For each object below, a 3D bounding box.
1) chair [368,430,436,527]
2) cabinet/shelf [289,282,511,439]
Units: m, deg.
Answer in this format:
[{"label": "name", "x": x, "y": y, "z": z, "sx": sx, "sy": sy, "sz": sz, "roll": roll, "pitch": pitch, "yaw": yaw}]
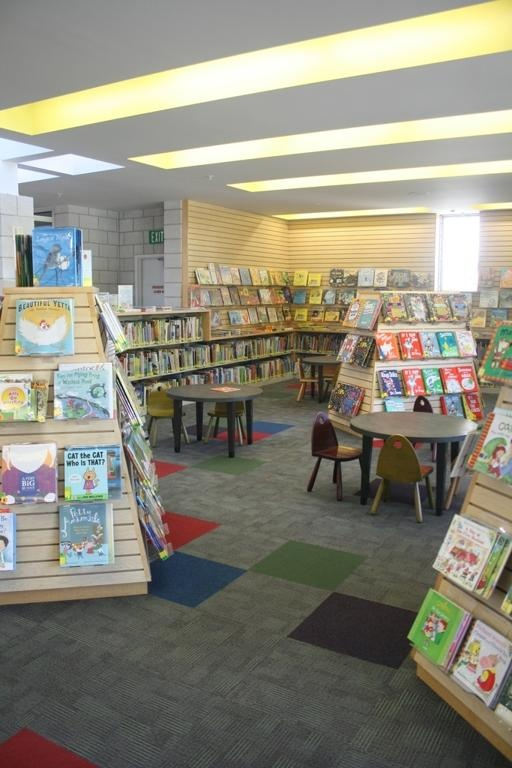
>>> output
[{"label": "chair", "x": 1.267, "y": 0.843, "z": 4.437, "sx": 0.595, "sy": 0.909, "sz": 0.593, "roll": 5, "pitch": 14, "yaw": 28}, {"label": "cabinet/shelf", "x": 2.207, "y": -0.670, "z": 7.917, "sx": 3.384, "sy": 2.940, "sz": 1.868, "roll": -4, "pitch": 5, "yaw": -32}]
